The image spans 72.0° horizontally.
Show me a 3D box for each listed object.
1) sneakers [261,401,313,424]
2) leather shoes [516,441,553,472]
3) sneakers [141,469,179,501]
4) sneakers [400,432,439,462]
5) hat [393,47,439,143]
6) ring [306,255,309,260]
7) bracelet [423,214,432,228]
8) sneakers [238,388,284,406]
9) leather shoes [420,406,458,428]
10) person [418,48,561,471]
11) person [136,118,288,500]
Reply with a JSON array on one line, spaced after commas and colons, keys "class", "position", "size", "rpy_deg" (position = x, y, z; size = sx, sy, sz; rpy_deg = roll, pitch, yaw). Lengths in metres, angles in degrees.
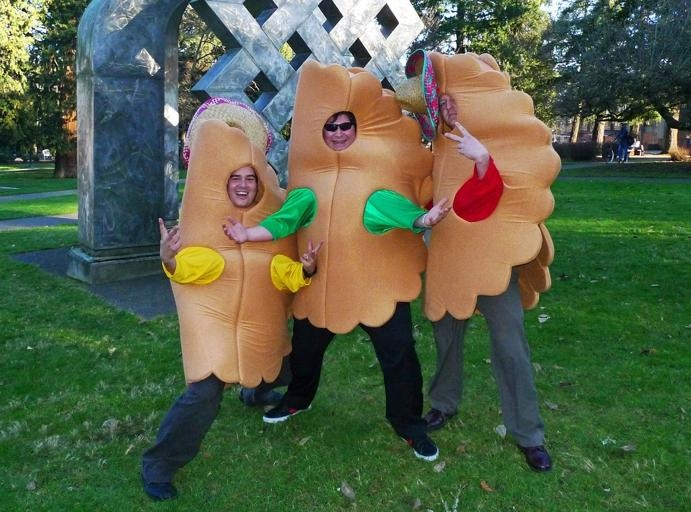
[{"class": "sneakers", "position": [-0.462, 1.188, 3.823], "size": [0.408, 0.175, 0.148], "rpy_deg": [-7, 2, -28]}, {"class": "leather shoes", "position": [1.296, 1.357, 3.241], "size": [0.088, 0.095, 0.232], "rpy_deg": [-15, 16, -10]}, {"class": "sneakers", "position": [-1.152, 1.424, 2.964], "size": [0.194, 0.118, 0.190], "rpy_deg": [-4, 11, -27]}, {"class": "sneakers", "position": [0.512, 1.337, 3.324], "size": [0.225, 0.094, 0.092], "rpy_deg": [33, 35, 27]}, {"class": "hat", "position": [0.523, -1.131, 3.299], "size": [0.252, 0.642, 0.318], "rpy_deg": [-10, 11, -19]}, {"class": "ring", "position": [-0.246, 0.008, 3.104], "size": [0.018, 0.027, 0.010], "rpy_deg": [-2, -5, 18]}, {"class": "bracelet", "position": [0.506, -0.218, 2.952], "size": [0.054, 0.079, 0.028], "rpy_deg": [-4, -9, 34]}, {"class": "sneakers", "position": [-0.707, 1.132, 3.895], "size": [0.285, 0.130, 0.177], "rpy_deg": [1, 0, -31]}, {"class": "leather shoes", "position": [0.727, 1.237, 3.703], "size": [0.124, 0.140, 0.348], "rpy_deg": [1, 4, 39]}, {"class": "person", "position": [0.990, -0.014, 3.281], "size": [0.942, 2.768, 0.643], "rpy_deg": [4, 10, 22]}, {"class": "person", "position": [-0.837, 0.265, 3.172], "size": [1.079, 2.314, 0.540], "rpy_deg": [-5, 11, -33]}]
